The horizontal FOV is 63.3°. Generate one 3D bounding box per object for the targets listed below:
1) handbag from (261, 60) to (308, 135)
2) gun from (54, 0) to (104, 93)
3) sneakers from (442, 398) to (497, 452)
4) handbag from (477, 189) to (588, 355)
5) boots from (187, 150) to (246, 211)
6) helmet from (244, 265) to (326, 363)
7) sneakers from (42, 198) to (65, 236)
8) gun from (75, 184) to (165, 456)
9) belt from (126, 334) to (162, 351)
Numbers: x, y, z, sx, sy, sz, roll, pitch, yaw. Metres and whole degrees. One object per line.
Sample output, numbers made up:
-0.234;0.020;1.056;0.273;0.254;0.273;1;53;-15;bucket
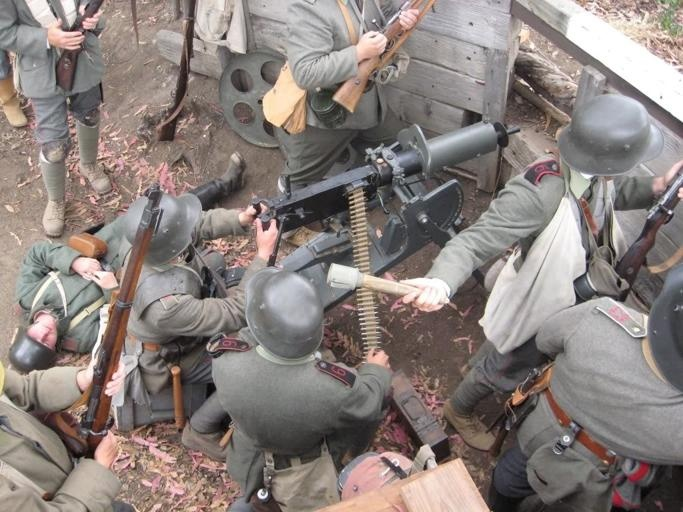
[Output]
-0.641;-1.799;6.246;0.406;0.809;0.808;-10;49;-21;handbag
-2.948;-2.339;6.167;0.175;0.978;0.563;35;45;18;gun
1.227;1.686;5.537;0.298;0.268;0.678;-40;80;-12;sneakers
1.661;0.240;4.792;0.526;1.529;0.596;26;19;28;handbag
-1.589;-0.940;7.421;0.361;0.533;1.194;35;47;4;boots
-0.417;0.414;4.059;0.631;0.386;0.454;41;47;18;helmet
-3.636;-0.455;6.974;0.184;0.224;0.582;-1;87;-28;sneakers
-1.948;0.670;4.886;0.160;2.625;0.512;15;7;1;gun
-1.852;0.814;5.122;0.217;0.134;0.171;5;12;8;belt
